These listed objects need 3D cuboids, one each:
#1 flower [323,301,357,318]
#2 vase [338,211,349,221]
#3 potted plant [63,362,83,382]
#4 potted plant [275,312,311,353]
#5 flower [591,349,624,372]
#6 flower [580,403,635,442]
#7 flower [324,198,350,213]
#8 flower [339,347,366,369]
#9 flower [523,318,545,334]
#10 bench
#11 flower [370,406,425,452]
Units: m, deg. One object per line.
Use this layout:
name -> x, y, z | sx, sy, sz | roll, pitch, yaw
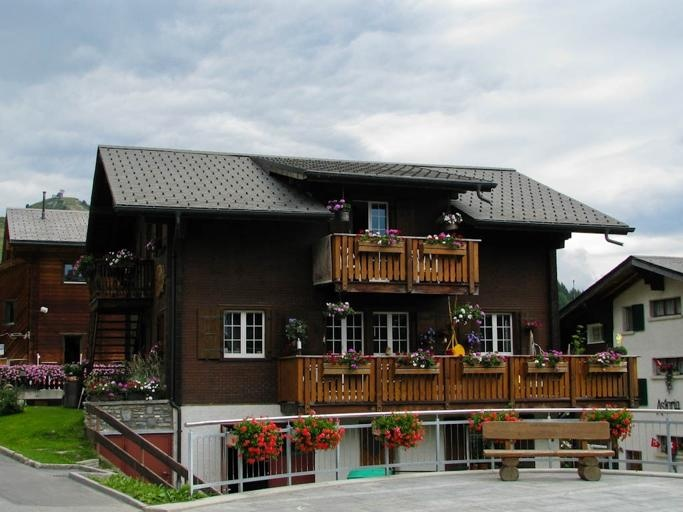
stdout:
flower -> -0.136, 1.623, 33.004 | 0.634, 0.344, 0.654 | -7, -11, 38
vase -> 0.090, -1.319, 33.759 | 0.281, 0.254, 0.273 | 1, -9, -6
potted plant -> -9.896, 4.196, 39.508 | 0.705, 0.718, 0.781 | -2, -2, -11
potted plant -> -1.425, 2.438, 33.505 | 1.046, 1.295, 1.330 | -10, -17, 32
flower -> 8.325, 3.214, 33.365 | 1.238, 0.696, 0.384 | 3, -10, -28
flower -> 7.159, 4.388, 28.579 | 1.062, 0.716, 1.072 | -1, -7, 22
flower -> -0.126, -1.641, 33.881 | 0.523, 0.478, 0.585 | 11, -15, -39
flower -> 0.284, 2.974, 31.910 | 0.613, 0.427, 0.557 | 7, -11, -17
flower -> 6.335, 2.203, 35.090 | 0.685, 0.437, 0.361 | 1, -9, -13
bench -> 5.122, 4.798, 26.447 | 3.101, 1.347, 1.048 | 0, 0, 3
flower -> 1.450, 4.462, 27.745 | 1.319, 0.926, 0.520 | -2, -9, 3
